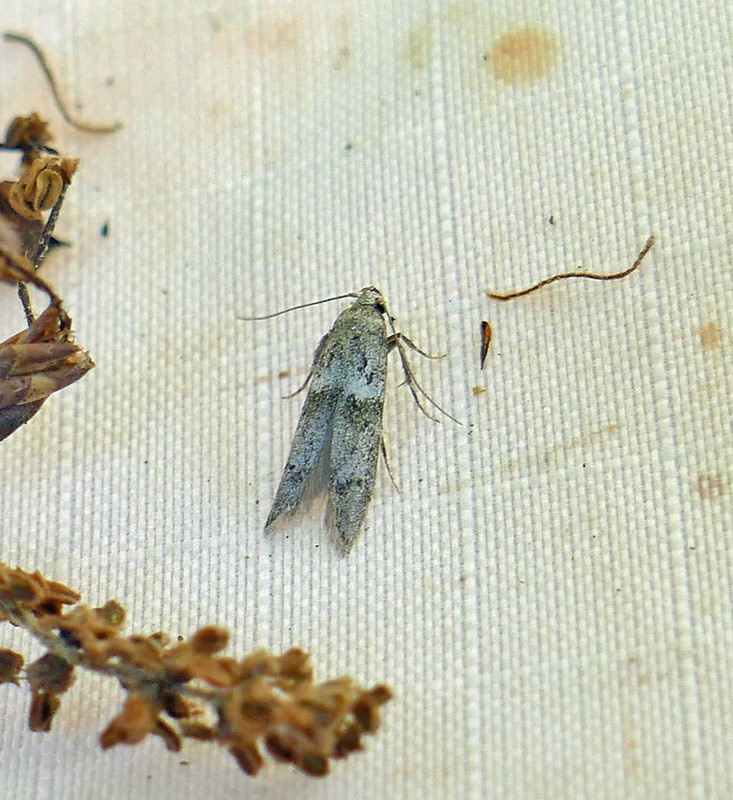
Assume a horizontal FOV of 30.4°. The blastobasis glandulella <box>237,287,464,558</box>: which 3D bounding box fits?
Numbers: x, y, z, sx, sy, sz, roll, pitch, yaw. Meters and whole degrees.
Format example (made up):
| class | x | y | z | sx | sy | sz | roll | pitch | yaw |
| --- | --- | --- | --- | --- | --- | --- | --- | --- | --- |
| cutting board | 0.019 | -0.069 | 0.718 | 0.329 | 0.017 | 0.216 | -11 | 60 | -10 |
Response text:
| class | x | y | z | sx | sy | sz | roll | pitch | yaw |
| --- | --- | --- | --- | --- | --- | --- | --- | --- | --- |
| blastobasis glandulella | -0.040 | 0.028 | 2.246 | 0.305 | 0.104 | 0.431 | 6 | 78 | 22 |
